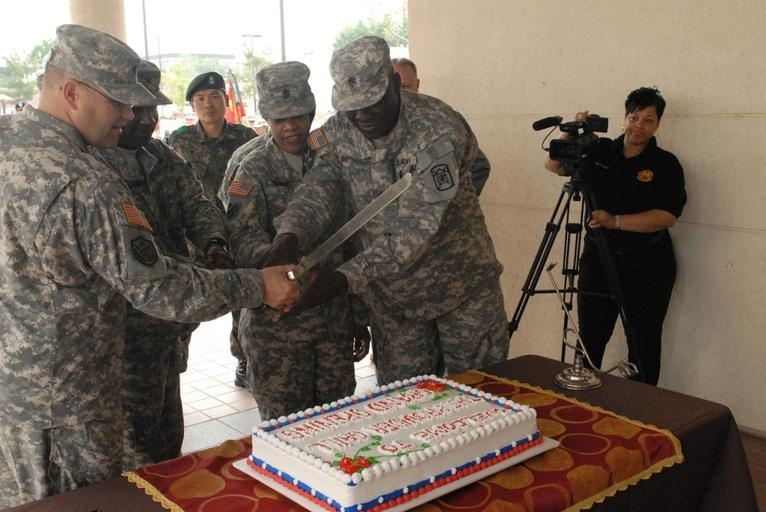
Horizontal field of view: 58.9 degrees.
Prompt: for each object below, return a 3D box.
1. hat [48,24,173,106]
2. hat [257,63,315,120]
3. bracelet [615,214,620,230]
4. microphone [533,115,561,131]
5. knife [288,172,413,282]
[{"bbox_3d":[-1.004,-0.637,2.510,0.395,0.130,0.258,25,24,-14],"label":"hat"},{"bbox_3d":[-0.489,-0.829,3.377,0.244,0.305,0.133,-5,-30,-4],"label":"hat"},{"bbox_3d":[1.397,-0.199,4.033,0.018,0.066,0.071,-4,-13,-11],"label":"bracelet"},{"bbox_3d":[0.974,-0.781,4.006,0.143,0.084,0.313,3,15,15],"label":"microphone"},{"bbox_3d":[-0.142,-0.137,3.063,0.111,0.110,0.935,-8,-22,-48],"label":"knife"}]
